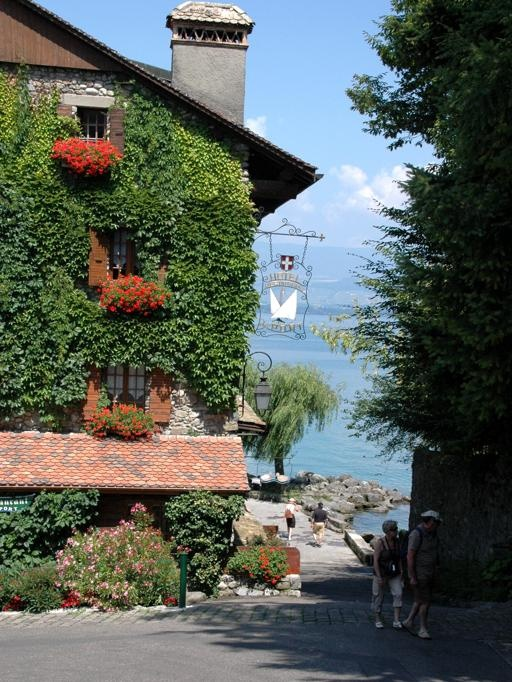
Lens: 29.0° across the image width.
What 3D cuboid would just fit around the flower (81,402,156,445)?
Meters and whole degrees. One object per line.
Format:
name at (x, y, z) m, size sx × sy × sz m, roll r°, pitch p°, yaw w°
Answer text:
flower at (-2.691, 1.679, 20.137) m, size 0.994 × 0.486 × 0.916 m, roll 2°, pitch -6°, yaw -2°

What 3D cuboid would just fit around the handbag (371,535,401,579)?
handbag at (1.934, 3.183, 14.428) m, size 0.415 × 0.633 × 0.259 m, roll -7°, pitch 0°, yaw 5°

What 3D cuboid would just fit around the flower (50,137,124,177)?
flower at (-3.304, -3.716, 19.476) m, size 1.374 × 0.781 × 0.634 m, roll -6°, pitch 0°, yaw -8°

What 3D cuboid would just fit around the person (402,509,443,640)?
person at (2.397, 3.290, 13.934) m, size 0.657 × 1.831 × 0.545 m, roll -8°, pitch 0°, yaw -2°
